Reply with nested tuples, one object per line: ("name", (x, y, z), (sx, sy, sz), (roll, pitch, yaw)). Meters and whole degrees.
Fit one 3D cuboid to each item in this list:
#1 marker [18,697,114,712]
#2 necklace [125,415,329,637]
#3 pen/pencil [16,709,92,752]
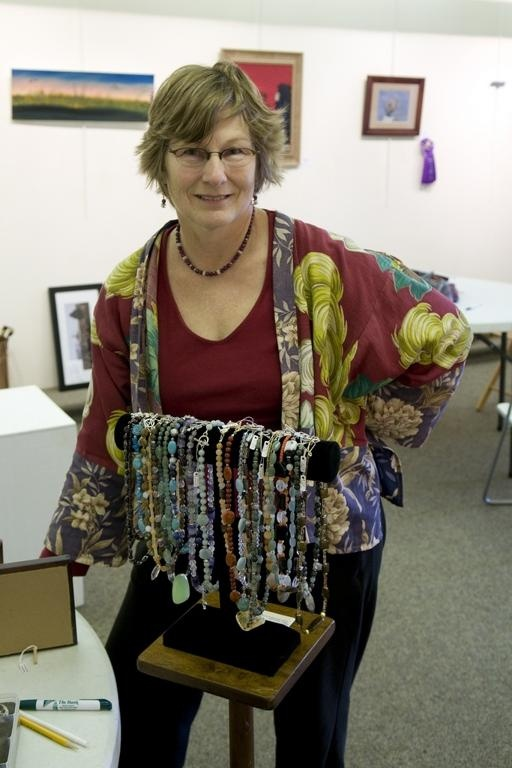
("marker", (-0.228, 0.385, 0.808), (0.118, 0.012, 0.012), (2, 16, 2))
("necklace", (-0.026, 0.158, 0.786), (0.322, 0.302, 0.064), (4, 10, 30))
("pen/pencil", (-0.229, 0.395, 0.764), (0.078, 0.008, 0.008), (14, 50, 23))
